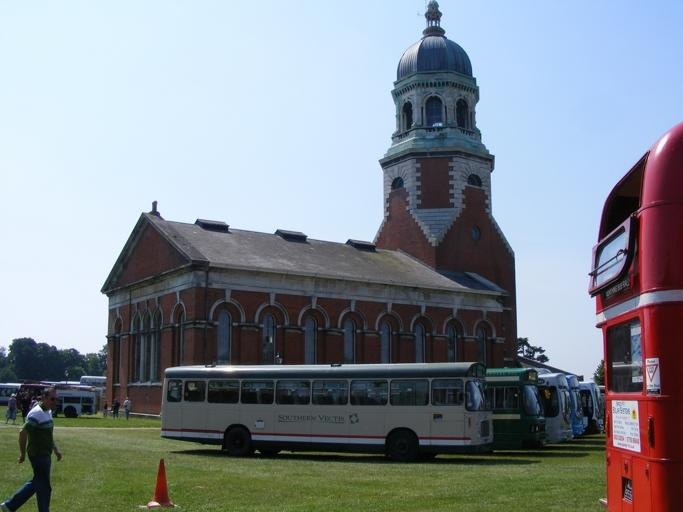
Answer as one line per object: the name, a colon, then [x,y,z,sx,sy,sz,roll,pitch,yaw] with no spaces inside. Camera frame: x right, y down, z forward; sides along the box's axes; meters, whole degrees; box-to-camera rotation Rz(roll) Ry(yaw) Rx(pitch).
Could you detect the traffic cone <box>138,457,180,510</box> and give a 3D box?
traffic cone: [-4.015,5.079,21.210,0.616,1.226,0.553,7,-11,-40]
